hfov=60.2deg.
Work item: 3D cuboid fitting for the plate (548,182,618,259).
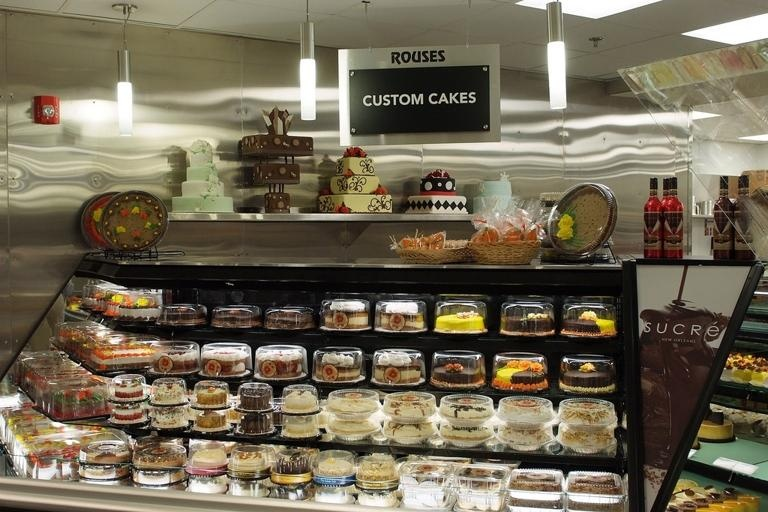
[{"bbox_3d":[1.189,-0.215,4.032,0.397,0.436,0.217,0,7,11],"label":"plate"}]

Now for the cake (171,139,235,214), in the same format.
[{"bbox_3d":[-1.682,-0.752,6.513,0.721,0.701,0.689,-1,0,-27],"label":"cake"}]

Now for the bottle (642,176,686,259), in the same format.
[{"bbox_3d":[1.607,-0.226,3.825,0.196,0.453,0.301,1,7,19],"label":"bottle"}]

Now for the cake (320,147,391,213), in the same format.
[{"bbox_3d":[-0.337,-0.785,6.995,0.743,0.645,0.694,0,0,-22],"label":"cake"}]

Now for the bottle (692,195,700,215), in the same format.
[{"bbox_3d":[4.001,-0.653,8.506,0.091,0.231,0.198,1,8,24],"label":"bottle"}]

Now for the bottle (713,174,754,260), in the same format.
[{"bbox_3d":[1.901,-0.210,3.604,0.207,0.455,0.139,2,8,29],"label":"bottle"}]

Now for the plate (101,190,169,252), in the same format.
[{"bbox_3d":[-1.967,-0.268,5.229,0.515,0.457,0.158,0,-1,-10],"label":"plate"}]

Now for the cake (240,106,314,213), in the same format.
[{"bbox_3d":[-1.088,-0.962,6.698,0.660,1.024,0.533,-4,7,-16],"label":"cake"}]

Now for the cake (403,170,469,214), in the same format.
[{"bbox_3d":[0.574,-0.632,7.032,0.538,0.422,0.534,2,1,-6],"label":"cake"}]

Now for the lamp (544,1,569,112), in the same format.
[{"bbox_3d":[1.237,-1.469,4.771,0.119,0.787,0.326,0,7,14],"label":"lamp"}]
